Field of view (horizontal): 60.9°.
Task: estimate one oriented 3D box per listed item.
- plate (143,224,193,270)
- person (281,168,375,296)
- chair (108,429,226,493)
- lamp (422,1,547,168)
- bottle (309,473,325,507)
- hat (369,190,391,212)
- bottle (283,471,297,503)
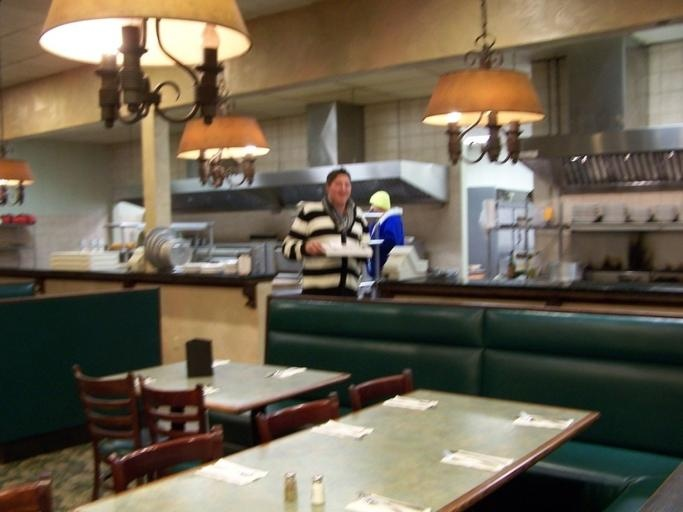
[{"bbox_3d":[-1.944,-0.071,6.466,0.492,0.483,0.271,-6,8,-19],"label":"plate"},{"bbox_3d":[-0.103,-0.176,4.729,0.471,1.038,0.743,3,10,43],"label":"person"},{"bbox_3d":[-0.630,0.718,2.080,0.396,0.161,0.145,-8,8,-35],"label":"chair"},{"bbox_3d":[0.980,-1.329,4.164,0.786,1.311,1.267,-2,7,8],"label":"lamp"},{"bbox_3d":[-0.075,0.737,1.842,0.041,0.085,0.100,-4,7,-1],"label":"bottle"},{"bbox_3d":[0.505,-0.706,7.369,0.348,0.334,0.290,1,1,9],"label":"hat"},{"bbox_3d":[-0.164,0.737,1.858,0.044,0.083,0.069,-4,7,-6],"label":"bottle"}]
